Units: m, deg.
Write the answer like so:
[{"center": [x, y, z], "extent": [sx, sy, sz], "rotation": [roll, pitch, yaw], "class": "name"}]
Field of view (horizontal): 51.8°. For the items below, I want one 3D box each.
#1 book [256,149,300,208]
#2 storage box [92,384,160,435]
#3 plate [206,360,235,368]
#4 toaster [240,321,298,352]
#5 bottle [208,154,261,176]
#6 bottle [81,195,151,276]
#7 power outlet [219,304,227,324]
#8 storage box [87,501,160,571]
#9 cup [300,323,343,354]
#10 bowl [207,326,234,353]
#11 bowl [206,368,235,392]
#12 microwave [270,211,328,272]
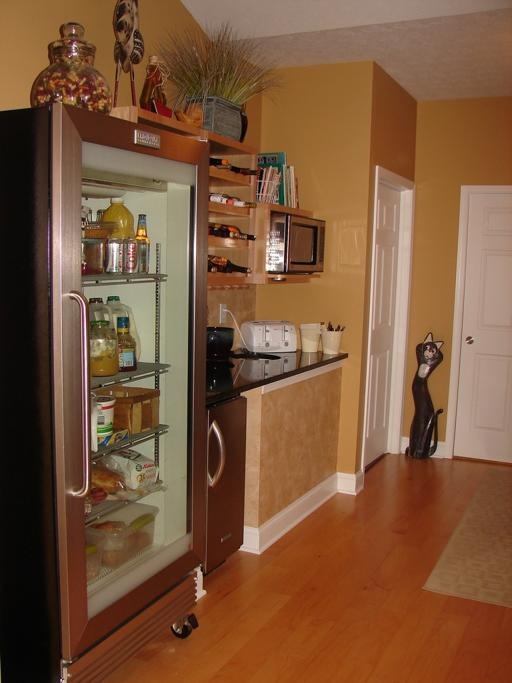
[{"center": [0.114, -1.002, 3.203], "extent": [0.206, 0.394, 0.507], "rotation": [2, 3, 19], "class": "book"}, {"center": [-0.390, 0.191, 1.610], "extent": [0.146, 0.096, 0.151], "rotation": [0, 1, 26], "class": "storage box"}, {"center": [-0.189, 0.118, 2.908], "extent": [0.160, 0.032, 0.171], "rotation": [1, 3, -12], "class": "plate"}, {"center": [0.089, -0.097, 3.385], "extent": [0.275, 0.181, 0.203], "rotation": [-3, 6, -31], "class": "toaster"}, {"center": [-0.092, -0.856, 2.595], "extent": [0.076, 0.056, 0.345], "rotation": [4, 3, 35], "class": "bottle"}, {"center": [-0.394, -0.297, 1.530], "extent": [0.153, 0.278, 0.262], "rotation": [0, 0, 20], "class": "bottle"}, {"center": [-0.205, -0.179, 3.298], "extent": [0.058, 0.115, 0.118], "rotation": [1, 3, 8], "class": "power outlet"}, {"center": [-0.403, 0.580, 1.580], "extent": [0.109, 0.072, 0.163], "rotation": [5, 10, 21], "class": "storage box"}, {"center": [0.434, -0.029, 3.489], "extent": [0.250, 0.167, 0.185], "rotation": [1, 6, 0], "class": "cup"}, {"center": [-0.192, -0.005, 2.859], "extent": [0.140, 0.141, 0.140], "rotation": [2, 3, 0], "class": "bowl"}, {"center": [-0.179, 0.183, 2.494], "extent": [0.078, 0.095, 0.160], "rotation": [4, -6, 13], "class": "bowl"}, {"center": [0.252, -0.573, 3.101], "extent": [0.302, 0.393, 0.588], "rotation": [4, 9, 22], "class": "microwave"}]
